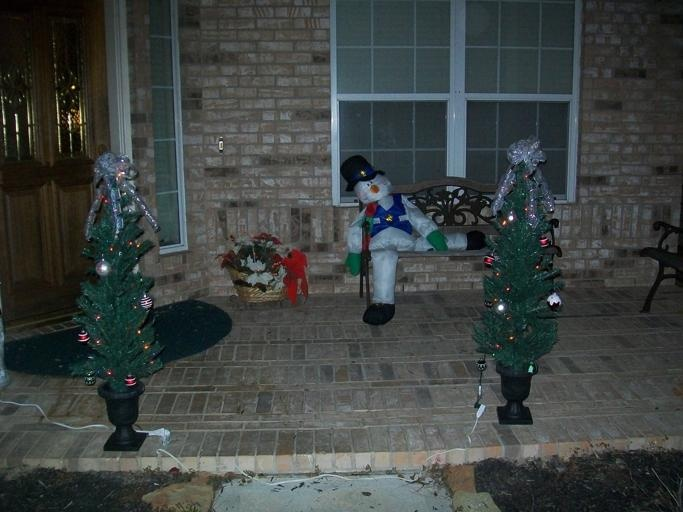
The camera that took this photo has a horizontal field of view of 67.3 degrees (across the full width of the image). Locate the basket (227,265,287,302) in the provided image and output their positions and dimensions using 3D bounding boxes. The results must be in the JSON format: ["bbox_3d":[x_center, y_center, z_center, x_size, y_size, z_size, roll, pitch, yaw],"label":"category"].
[{"bbox_3d":[-1.043,0.295,6.201,0.737,0.368,0.510,-6,15,-24],"label":"basket"}]

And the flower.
[{"bbox_3d":[-0.880,0.156,5.954,0.974,0.601,0.902,2,15,-16],"label":"flower"}]
